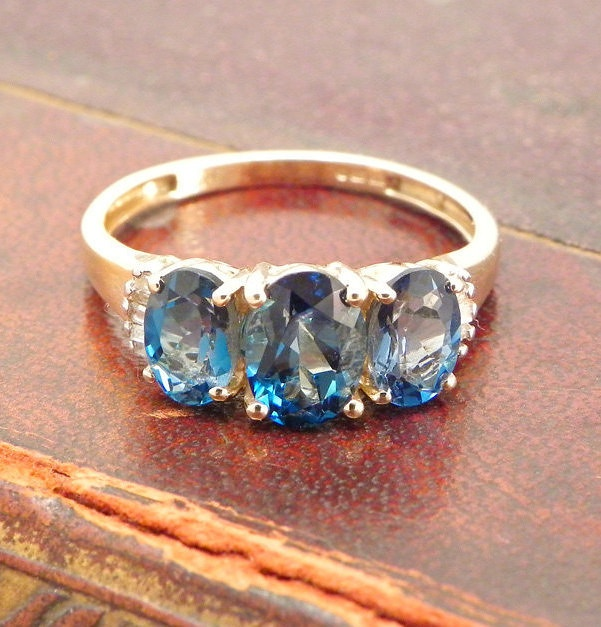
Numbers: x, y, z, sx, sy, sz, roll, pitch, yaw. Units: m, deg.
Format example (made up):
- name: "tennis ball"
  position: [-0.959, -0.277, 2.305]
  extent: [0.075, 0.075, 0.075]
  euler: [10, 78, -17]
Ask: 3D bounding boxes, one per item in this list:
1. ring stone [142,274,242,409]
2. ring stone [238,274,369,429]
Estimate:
- name: "ring stone"
  position: [-0.118, 0.029, 0.889]
  extent: [0.138, 0.040, 0.122]
  euler: [-4, 97, 15]
- name: "ring stone"
  position: [0.002, 0.040, 0.807]
  extent: [0.158, 0.098, 0.142]
  euler: [0, 82, 0]
